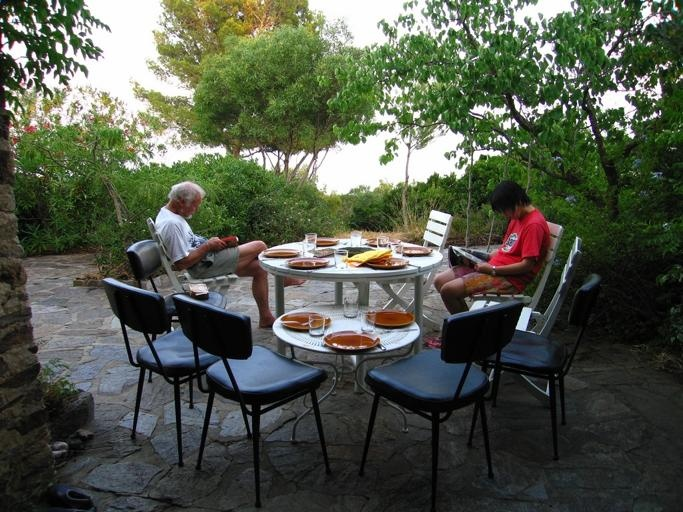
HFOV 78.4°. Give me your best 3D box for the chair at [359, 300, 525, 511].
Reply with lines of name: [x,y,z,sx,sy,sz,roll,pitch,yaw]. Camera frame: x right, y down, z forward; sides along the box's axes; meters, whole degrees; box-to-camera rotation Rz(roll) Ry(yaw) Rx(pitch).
chair: [0.558,0.783,2.449,0.803,1.150,0.591,6,12,26]

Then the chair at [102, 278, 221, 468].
chair: [-1.121,0.754,2.897,0.709,1.148,0.823,8,8,37]

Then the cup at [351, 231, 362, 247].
cup: [0.138,-0.183,4.206,0.146,0.145,0.143,0,7,0]

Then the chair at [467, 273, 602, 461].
chair: [1.515,0.576,3.498,1.176,1.728,1.112,4,12,31]

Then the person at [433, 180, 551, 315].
person: [1.391,0.053,3.915,0.999,1.449,0.648,-4,16,-7]

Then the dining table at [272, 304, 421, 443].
dining table: [-0.025,0.707,3.002,1.048,0.635,1.058,11,15,44]

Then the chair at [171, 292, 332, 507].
chair: [-0.591,0.968,2.675,0.835,1.313,0.903,16,22,40]

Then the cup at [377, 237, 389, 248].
cup: [0.400,-0.138,4.115,0.096,0.080,0.114,0,3,1]

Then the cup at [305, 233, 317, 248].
cup: [-0.343,-0.156,4.094,0.159,0.157,0.151,1,3,0]
